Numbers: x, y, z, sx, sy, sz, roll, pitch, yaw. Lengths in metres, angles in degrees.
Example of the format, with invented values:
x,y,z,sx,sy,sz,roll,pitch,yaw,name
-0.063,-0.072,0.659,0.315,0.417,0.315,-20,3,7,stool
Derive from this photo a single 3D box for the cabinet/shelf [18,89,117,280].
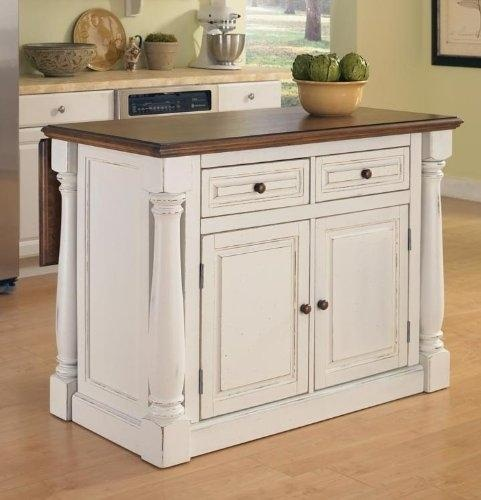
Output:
x,y,z,sx,sy,sz,roll,pitch,yaw,name
-0.998,-0.446,3.210,0.512,0.968,0.210,-3,6,-27,cabinet/shelf

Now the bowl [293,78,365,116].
x,y,z,sx,sy,sz,roll,pitch,yaw,name
0.324,-0.532,1.922,0.297,0.120,0.277,0,13,0,bowl

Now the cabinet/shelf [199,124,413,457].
x,y,z,sx,sy,sz,roll,pitch,yaw,name
0.120,0.077,1.813,1.092,0.926,0.433,-9,14,-36,cabinet/shelf

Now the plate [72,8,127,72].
x,y,z,sx,sy,sz,roll,pitch,yaw,name
-0.955,-1.443,3.857,0.439,0.401,0.071,0,8,-39,plate

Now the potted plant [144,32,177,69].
x,y,z,sx,sy,sz,roll,pitch,yaw,name
-0.558,-1.397,3.923,0.258,0.183,0.258,0,7,-5,potted plant
